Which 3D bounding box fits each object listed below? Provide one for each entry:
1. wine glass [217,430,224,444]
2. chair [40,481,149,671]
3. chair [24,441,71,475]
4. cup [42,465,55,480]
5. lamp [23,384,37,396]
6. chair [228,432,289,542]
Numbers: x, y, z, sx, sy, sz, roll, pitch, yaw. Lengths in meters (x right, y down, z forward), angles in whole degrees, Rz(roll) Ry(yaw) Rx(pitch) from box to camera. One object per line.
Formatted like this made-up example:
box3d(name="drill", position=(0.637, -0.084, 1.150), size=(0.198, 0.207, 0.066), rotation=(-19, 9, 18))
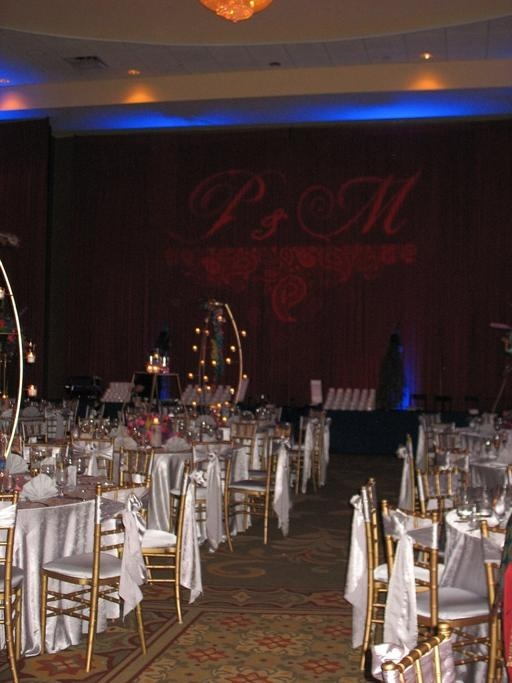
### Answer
box3d(name="wine glass", position=(-0.345, 0.906, 5.955), size=(0.116, 0.107, 0.099), rotation=(-1, 5, 0))
box3d(name="chair", position=(-0.713, 1.041, 2.888), size=(0.525, 0.784, 0.539), rotation=(5, -4, -37))
box3d(name="chair", position=(-1.213, 0.687, 3.603), size=(0.304, 0.233, 0.334), rotation=(1, -7, -7))
box3d(name="cup", position=(-1.067, 0.673, 3.202), size=(0.056, 0.065, 0.062), rotation=(3, -3, 0))
box3d(name="lamp", position=(-4.498, 0.984, 12.444), size=(0.323, 0.331, 0.309), rotation=(4, -5, -15))
box3d(name="chair", position=(0.056, 1.246, 5.317), size=(0.526, 0.805, 0.467), rotation=(-1, -7, 25))
